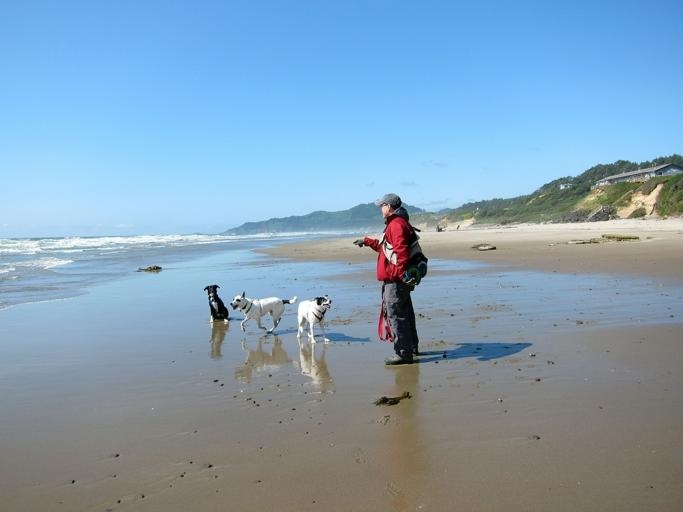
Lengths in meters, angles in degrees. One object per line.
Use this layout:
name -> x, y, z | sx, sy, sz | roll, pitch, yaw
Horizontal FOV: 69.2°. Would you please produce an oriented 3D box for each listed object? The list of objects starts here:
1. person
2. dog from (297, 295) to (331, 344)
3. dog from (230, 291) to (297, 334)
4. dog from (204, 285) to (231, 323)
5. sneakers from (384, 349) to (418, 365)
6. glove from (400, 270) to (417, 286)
person -> 0.869, 0.320, 7.806 | 0.922, 2.610, 1.152 | -3, 11, 8
dog -> -0.533, 1.205, 9.543 | 0.423, 0.815, 1.397 | 3, -6, -24
dog -> -1.660, 1.214, 10.770 | 1.676, 0.765, 0.384 | 3, -8, -40
dog -> -2.923, 1.172, 11.609 | 0.548, 0.836, 1.274 | -9, -17, -6
sneakers -> 0.933, 1.589, 7.705 | 0.468, 0.154, 0.190 | 2, 1, -7
glove -> 1.050, 0.331, 7.569 | 0.243, 0.195, 0.184 | -20, 17, -16
